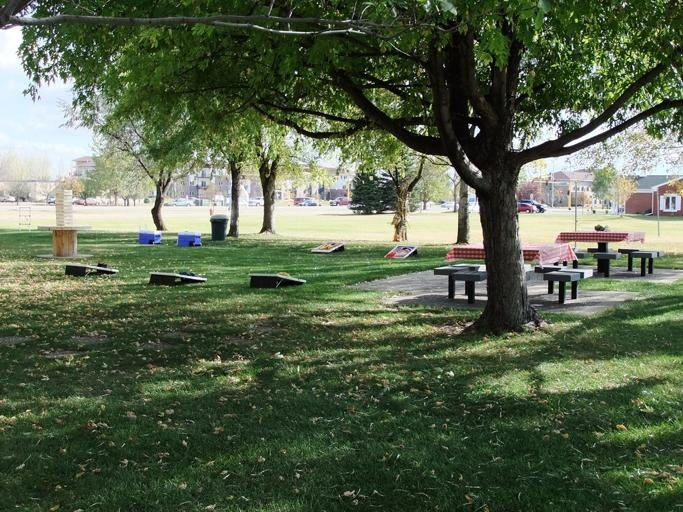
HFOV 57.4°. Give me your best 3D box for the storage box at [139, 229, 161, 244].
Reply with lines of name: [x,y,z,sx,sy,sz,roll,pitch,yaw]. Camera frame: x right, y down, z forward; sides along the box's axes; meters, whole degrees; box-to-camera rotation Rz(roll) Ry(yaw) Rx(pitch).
storage box: [-9.253,-0.874,30.033,0.979,0.720,0.624,1,-1,1]

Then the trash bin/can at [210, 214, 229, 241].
trash bin/can: [-6.561,-1.532,33.602,1.181,1.506,1.210,0,-1,-5]

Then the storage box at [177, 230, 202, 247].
storage box: [-7.078,-0.778,29.126,0.990,0.789,0.695,0,-1,35]

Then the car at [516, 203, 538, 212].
car: [28.630,-7.376,95.085,3.292,1.170,2.323,0,8,-7]

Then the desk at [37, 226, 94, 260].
desk: [-9.878,-0.562,22.236,1.579,1.110,1.581,-1,5,-15]
